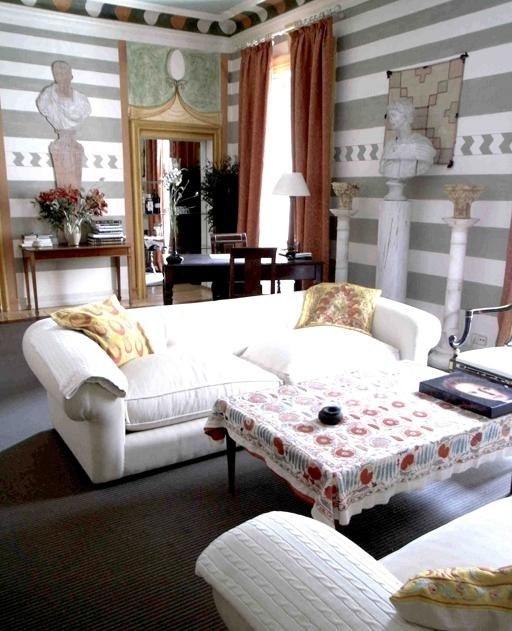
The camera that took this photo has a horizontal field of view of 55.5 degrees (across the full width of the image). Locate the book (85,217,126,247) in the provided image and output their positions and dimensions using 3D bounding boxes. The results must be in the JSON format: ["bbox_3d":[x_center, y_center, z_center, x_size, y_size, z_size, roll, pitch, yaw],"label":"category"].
[{"bbox_3d":[-1.770,-0.911,5.681,0.469,0.276,0.334,-9,19,-32],"label":"book"}]

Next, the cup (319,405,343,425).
[{"bbox_3d":[0.283,0.387,1.859,0.071,0.043,0.068,-2,14,1],"label":"cup"}]

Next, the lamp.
[{"bbox_3d":[0.354,-0.987,4.843,0.333,0.823,0.642,3,12,9],"label":"lamp"}]

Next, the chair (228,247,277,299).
[{"bbox_3d":[-0.039,-0.367,4.178,0.414,0.675,0.406,-1,48,-4],"label":"chair"}]

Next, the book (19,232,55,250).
[{"bbox_3d":[-2.371,-0.797,5.254,0.374,0.141,0.255,10,14,39],"label":"book"}]

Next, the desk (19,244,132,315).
[{"bbox_3d":[-2.010,-0.438,5.573,1.117,0.716,0.427,-8,20,-32],"label":"desk"}]

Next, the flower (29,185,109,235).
[{"bbox_3d":[-2.034,-1.205,5.401,0.745,0.494,0.509,-7,20,-25],"label":"flower"}]
